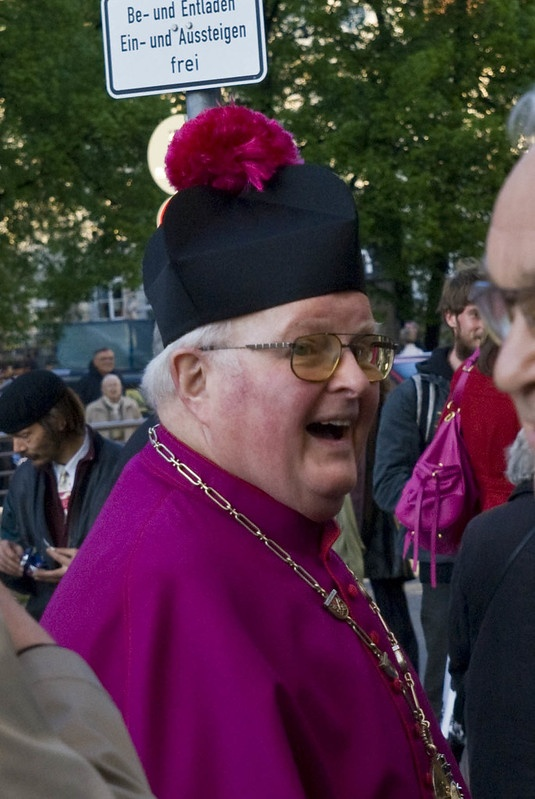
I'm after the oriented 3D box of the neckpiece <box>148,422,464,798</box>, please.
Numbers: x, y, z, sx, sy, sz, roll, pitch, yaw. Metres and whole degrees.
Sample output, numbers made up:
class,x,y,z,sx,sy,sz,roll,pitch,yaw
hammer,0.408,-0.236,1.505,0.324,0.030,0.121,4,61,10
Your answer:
class,x,y,z,sx,sy,sz,roll,pitch,yaw
neckpiece,-0.008,0.262,1.500,0.277,0.060,0.837,8,40,-43

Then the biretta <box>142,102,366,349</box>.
class,x,y,z,sx,sy,sz,roll,pitch,yaw
biretta,-0.054,-0.253,1.556,0.407,0.330,0.307,-22,-13,33

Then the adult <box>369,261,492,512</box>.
class,x,y,z,sx,sy,sz,roll,pitch,yaw
adult,0.884,0.033,4.137,0.386,1.191,0.527,-15,8,13

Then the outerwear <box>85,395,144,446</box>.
class,x,y,z,sx,sy,sz,roll,pitch,yaw
outerwear,-1.410,0.183,8.316,0.531,0.468,0.276,0,-20,-6
